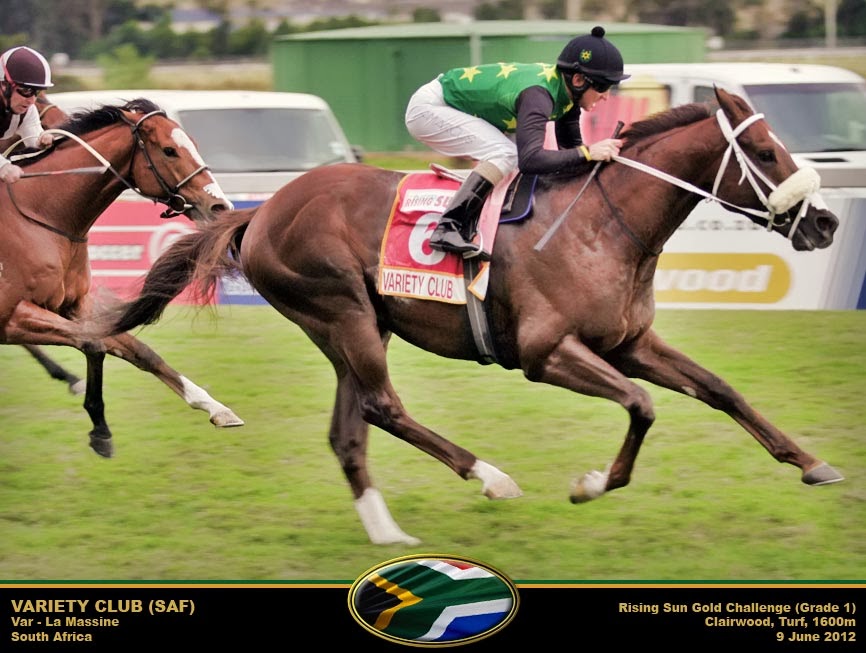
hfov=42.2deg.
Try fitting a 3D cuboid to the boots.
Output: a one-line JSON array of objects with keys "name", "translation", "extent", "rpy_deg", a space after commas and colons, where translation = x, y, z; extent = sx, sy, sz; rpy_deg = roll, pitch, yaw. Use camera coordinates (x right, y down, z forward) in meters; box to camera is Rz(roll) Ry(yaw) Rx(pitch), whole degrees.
[{"name": "boots", "translation": [0.163, -0.504, 5.177], "extent": [0.236, 0.381, 0.377], "rpy_deg": [7, 25, 26]}]

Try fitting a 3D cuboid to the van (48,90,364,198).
[{"name": "van", "translation": [-1.785, -1.552, 9.593], "extent": [2.671, 0.689, 1.281], "rpy_deg": [-1, 9, -7]}]

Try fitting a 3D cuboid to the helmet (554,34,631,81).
[{"name": "helmet", "translation": [0.730, -1.267, 5.183], "extent": [0.432, 0.159, 0.252], "rpy_deg": [10, 29, -5]}]
